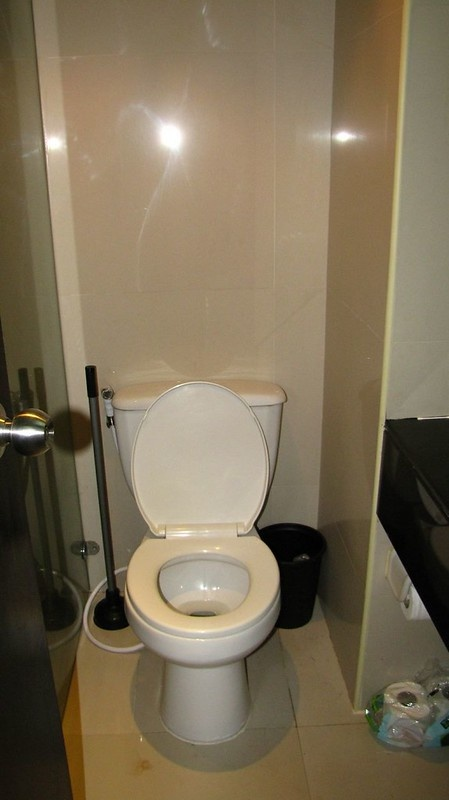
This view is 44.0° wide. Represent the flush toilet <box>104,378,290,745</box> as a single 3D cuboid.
[{"bbox_3d":[-0.044,0.372,1.364,0.484,0.813,0.590,-4,13,-11],"label":"flush toilet"}]
